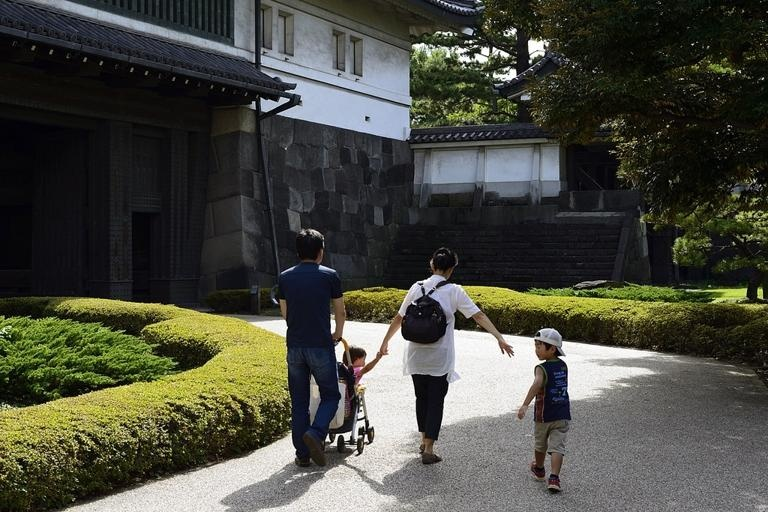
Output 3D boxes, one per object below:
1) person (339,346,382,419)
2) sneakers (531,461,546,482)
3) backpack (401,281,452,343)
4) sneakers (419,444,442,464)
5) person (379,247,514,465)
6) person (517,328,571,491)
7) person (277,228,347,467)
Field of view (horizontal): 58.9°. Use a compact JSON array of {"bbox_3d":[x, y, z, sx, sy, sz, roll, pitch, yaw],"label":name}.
[{"bbox_3d":[-0.394,1.378,8.433,0.512,0.864,0.341,13,7,-24],"label":"person"},{"bbox_3d":[1.688,2.364,7.438,0.088,0.115,0.229,-1,6,-1],"label":"sneakers"},{"bbox_3d":[0.483,0.668,8.032,0.474,0.822,0.428,1,-11,26],"label":"backpack"},{"bbox_3d":[0.518,2.258,7.868,0.291,0.217,0.256,5,10,18],"label":"sneakers"},{"bbox_3d":[0.619,1.143,8.047,1.353,2.411,0.940,2,10,0],"label":"person"},{"bbox_3d":[1.764,1.624,7.386,0.482,1.620,0.708,4,10,16],"label":"person"},{"bbox_3d":[-0.874,1.063,7.739,0.726,2.631,0.866,3,10,6],"label":"person"}]
